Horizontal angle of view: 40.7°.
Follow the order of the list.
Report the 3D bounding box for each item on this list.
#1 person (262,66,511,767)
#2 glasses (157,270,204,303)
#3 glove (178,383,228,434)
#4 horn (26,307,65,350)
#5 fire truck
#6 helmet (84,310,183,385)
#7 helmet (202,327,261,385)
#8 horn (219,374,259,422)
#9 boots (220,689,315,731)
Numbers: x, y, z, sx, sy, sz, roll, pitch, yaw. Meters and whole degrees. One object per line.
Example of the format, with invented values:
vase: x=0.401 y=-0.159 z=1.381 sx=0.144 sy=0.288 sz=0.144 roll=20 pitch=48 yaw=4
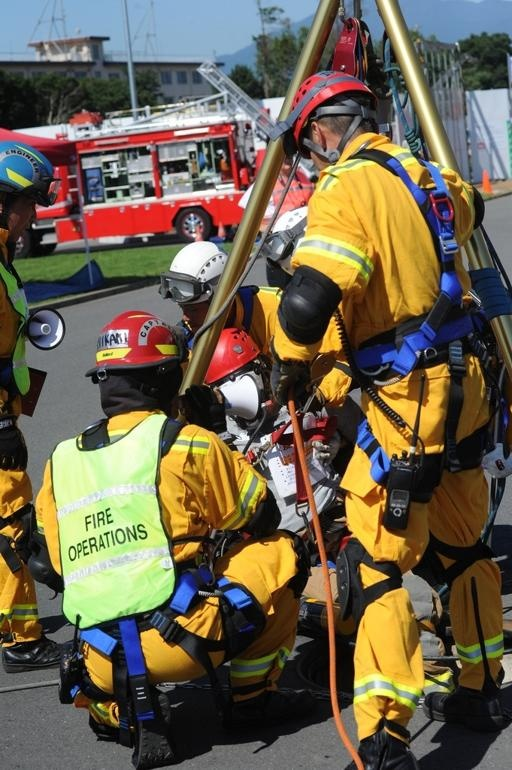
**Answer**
person: x=0.357 y=0.112 z=1.957 sx=0.597 sy=2.041 sz=0.937 roll=0 pitch=14 yaw=24
glasses: x=-0.383 y=-0.508 z=3.719 sx=0.179 sy=0.118 sz=0.227 roll=19 pitch=7 yaw=33
glove: x=-0.192 y=0.086 z=2.651 sx=0.155 sy=0.078 sz=0.206 roll=-5 pitch=-30 yaw=35
horn: x=-1.056 y=-0.271 z=3.465 sx=0.200 sy=0.209 sz=0.272 roll=6 pitch=0 yaw=-24
fire truck: x=-3.963 y=-6.865 z=22.644 sx=8.727 sy=4.222 sz=2.715 roll=0 pitch=18 yaw=13
helmet: x=-0.379 y=-0.125 z=2.320 sx=0.230 sy=0.177 sz=0.295 roll=-8 pitch=-1 yaw=35
helmet: x=-0.150 y=-0.138 z=3.372 sx=0.281 sy=0.259 sz=0.216 roll=-37 pitch=4 yaw=-5
horn: x=-0.086 y=0.076 z=3.219 sx=0.214 sy=0.188 sz=0.173 roll=-1 pitch=-1 yaw=-15
boots: x=0.041 y=1.062 z=2.344 sx=0.231 sy=0.076 sz=0.169 roll=1 pitch=-10 yaw=-22
